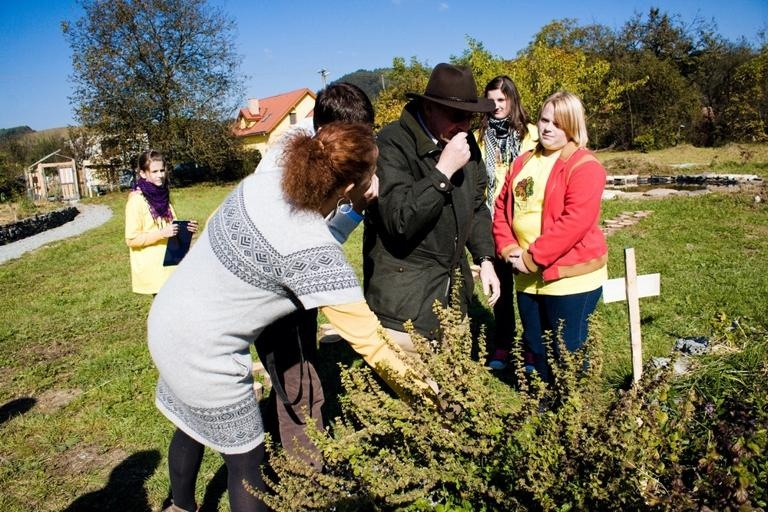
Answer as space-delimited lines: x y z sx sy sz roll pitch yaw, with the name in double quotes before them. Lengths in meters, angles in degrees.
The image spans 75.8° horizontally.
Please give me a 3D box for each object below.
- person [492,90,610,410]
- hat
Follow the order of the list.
"person" 1.420 -0.147 4.338 0.636 2.493 0.902 -13 15 -35
"hat" 0.489 -1.303 3.709 0.688 0.292 0.616 24 35 34
